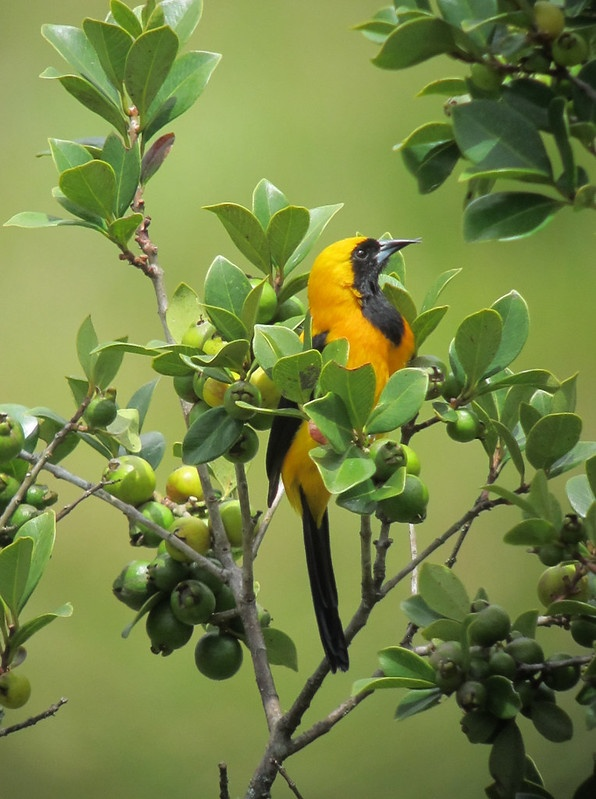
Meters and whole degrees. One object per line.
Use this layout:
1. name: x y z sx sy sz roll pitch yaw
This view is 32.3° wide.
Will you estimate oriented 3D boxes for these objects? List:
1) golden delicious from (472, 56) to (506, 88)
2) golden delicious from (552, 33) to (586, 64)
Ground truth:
1. golden delicious: 0.206 -0.352 1.116 0.032 0.037 0.039 -6 -52 5
2. golden delicious: 0.271 -0.350 1.027 0.024 0.021 0.028 -35 -42 16
